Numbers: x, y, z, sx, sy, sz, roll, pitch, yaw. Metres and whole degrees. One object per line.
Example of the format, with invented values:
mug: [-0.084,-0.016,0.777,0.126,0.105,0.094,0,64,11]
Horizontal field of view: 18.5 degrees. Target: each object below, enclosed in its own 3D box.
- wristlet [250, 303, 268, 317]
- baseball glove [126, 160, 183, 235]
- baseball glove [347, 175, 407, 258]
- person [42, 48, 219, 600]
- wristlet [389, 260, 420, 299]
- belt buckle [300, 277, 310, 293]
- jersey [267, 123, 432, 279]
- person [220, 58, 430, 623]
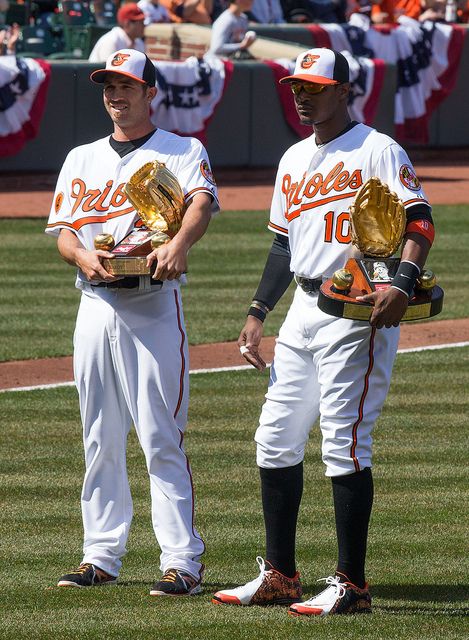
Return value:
wristlet: [0.090,-0.044,5.364,0.055,0.062,0.092,-2,19,0]
baseball glove: [-0.276,-0.460,5.315,0.149,0.267,0.193,-39,40,-26]
baseball glove: [0.502,-0.351,4.929,0.202,0.251,0.117,-4,-2,-3]
person: [-0.364,-0.006,5.250,0.644,1.829,0.901,-3,20,-2]
wristlet: [0.570,-0.137,4.838,0.072,0.105,0.121,8,22,26]
belt buckle: [0.250,-0.129,5.129,0.014,0.054,0.066,-9,21,-19]
jersey: [0.379,-0.428,5.174,0.268,0.588,0.755,-1,3,-44]
person: [0.294,0.053,5.011,0.697,1.800,1.002,4,21,16]
